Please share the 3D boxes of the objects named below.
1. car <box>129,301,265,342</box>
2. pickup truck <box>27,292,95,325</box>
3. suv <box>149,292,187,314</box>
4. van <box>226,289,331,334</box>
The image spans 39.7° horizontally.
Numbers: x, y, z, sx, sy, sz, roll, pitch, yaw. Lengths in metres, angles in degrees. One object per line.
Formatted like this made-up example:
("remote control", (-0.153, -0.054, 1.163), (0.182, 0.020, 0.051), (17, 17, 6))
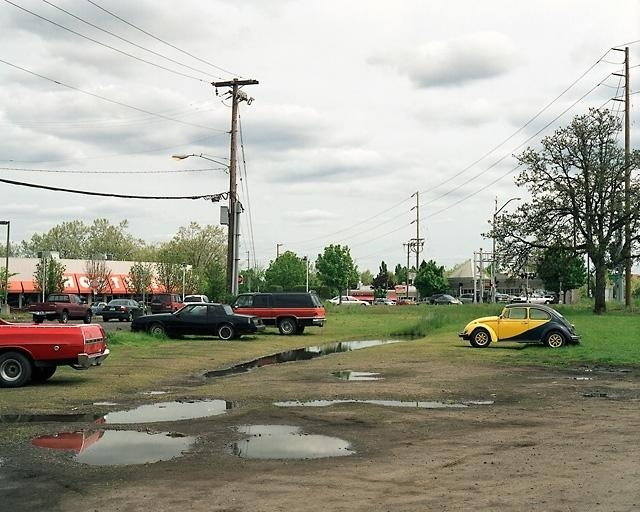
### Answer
("car", (-4.475, 2.490, 33.019), (4.286, 1.052, 1.808), (3, -5, -1))
("pickup truck", (-14.054, 2.901, 48.109), (1.928, 1.706, 4.321), (0, -1, 3))
("suv", (-8.763, 2.864, 50.374), (1.585, 1.379, 3.058), (1, 5, 8))
("van", (-1.600, 2.359, 36.168), (4.873, 1.569, 4.084), (0, 0, 16))
